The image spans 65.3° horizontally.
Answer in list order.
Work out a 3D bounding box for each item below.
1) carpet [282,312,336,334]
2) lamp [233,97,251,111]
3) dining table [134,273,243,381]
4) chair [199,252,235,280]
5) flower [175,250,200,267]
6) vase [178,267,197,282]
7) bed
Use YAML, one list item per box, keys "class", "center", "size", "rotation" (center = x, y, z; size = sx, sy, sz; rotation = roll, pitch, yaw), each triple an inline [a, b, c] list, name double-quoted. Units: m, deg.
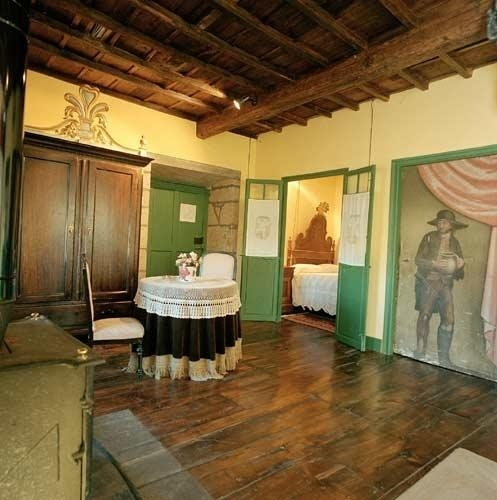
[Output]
- class: "carpet"
  center: [0.982, 1.105, 5.923]
  size: [0.668, 0.030, 1.272]
  rotation: [1, 3, -34]
- class: "lamp"
  center: [-0.068, -1.726, 4.591]
  size: [0.210, 0.108, 0.142]
  rotation: [-28, -1, 17]
- class: "dining table"
  center: [-0.464, 0.573, 3.579]
  size: [0.718, 0.589, 0.732]
  rotation: [22, 3, 38]
- class: "chair"
  center: [-0.322, 0.210, 4.807]
  size: [0.293, 0.527, 0.360]
  rotation: [1, -3, 5]
- class: "flower"
  center: [-0.743, 0.108, 4.648]
  size: [0.241, 0.156, 0.261]
  rotation: [0, -1, 14]
- class: "vase"
  center: [-0.569, 0.233, 3.668]
  size: [0.128, 0.103, 0.133]
  rotation: [1, 2, 10]
- class: "bed"
  center: [1.195, 0.045, 7.302]
  size: [0.943, 2.025, 2.655]
  rotation: [3, 2, 13]
